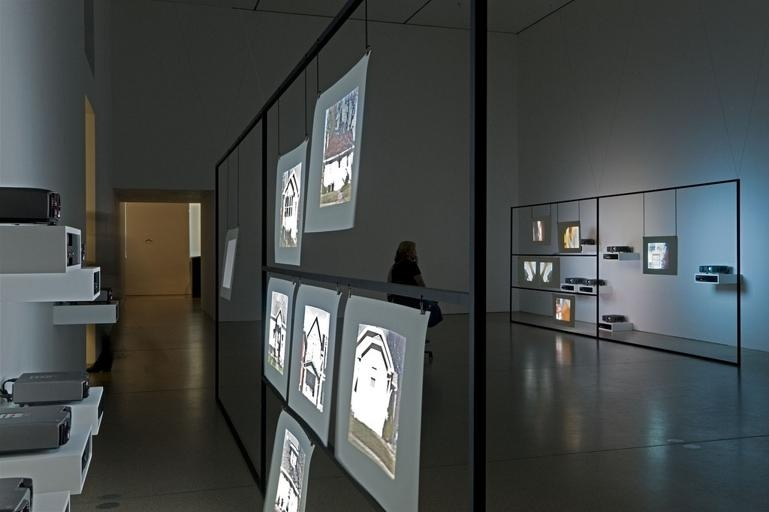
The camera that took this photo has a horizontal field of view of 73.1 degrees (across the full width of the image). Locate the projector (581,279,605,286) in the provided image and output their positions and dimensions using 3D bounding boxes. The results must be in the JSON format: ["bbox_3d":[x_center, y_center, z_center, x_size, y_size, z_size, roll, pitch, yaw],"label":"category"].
[{"bbox_3d":[4.563,0.581,11.323,0.442,0.139,0.369,2,0,-7],"label":"projector"}]

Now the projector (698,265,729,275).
[{"bbox_3d":[5.606,0.232,8.903,0.289,0.169,0.595,2,1,-27],"label":"projector"}]

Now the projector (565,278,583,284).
[{"bbox_3d":[4.321,0.563,11.840,0.353,0.142,0.804,2,0,15],"label":"projector"}]

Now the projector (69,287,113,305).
[{"bbox_3d":[-2.618,0.358,4.629,0.343,0.111,0.723,2,1,-32],"label":"projector"}]

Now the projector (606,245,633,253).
[{"bbox_3d":[4.814,-0.131,10.745,0.338,0.135,0.680,2,1,-23],"label":"projector"}]

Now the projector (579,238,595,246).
[{"bbox_3d":[4.478,-0.301,11.395,0.211,0.228,0.224,0,-2,6],"label":"projector"}]
